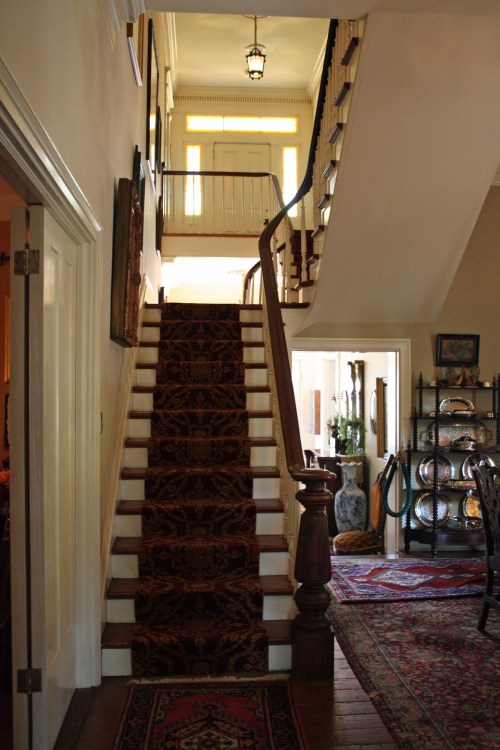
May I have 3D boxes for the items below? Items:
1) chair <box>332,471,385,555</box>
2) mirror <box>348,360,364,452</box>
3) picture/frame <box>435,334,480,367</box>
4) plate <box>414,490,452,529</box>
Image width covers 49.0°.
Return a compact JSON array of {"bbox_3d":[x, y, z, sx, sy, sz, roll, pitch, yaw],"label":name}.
[{"bbox_3d":[1.132,1.486,5.876,0.474,0.908,0.509,0,-6,2],"label":"chair"},{"bbox_3d":[1.538,0.397,7.945,0.239,1.346,1.419,0,-6,11],"label":"mirror"},{"bbox_3d":[2.151,-0.282,5.755,0.301,0.287,0.027,2,1,-7],"label":"picture/frame"},{"bbox_3d":[1.836,1.354,5.565,0.364,0.357,0.458,0,-7,18],"label":"plate"}]
